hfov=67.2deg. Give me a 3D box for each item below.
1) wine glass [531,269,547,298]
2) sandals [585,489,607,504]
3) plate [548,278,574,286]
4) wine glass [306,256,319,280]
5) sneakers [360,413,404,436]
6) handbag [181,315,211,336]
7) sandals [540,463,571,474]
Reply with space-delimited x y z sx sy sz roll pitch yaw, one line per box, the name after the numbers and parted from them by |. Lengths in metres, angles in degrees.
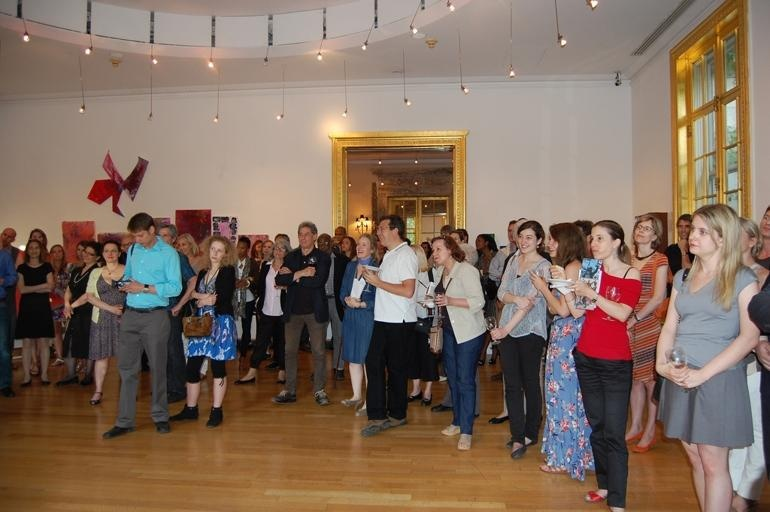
1.556 0.290 5.945 0.158 0.294 0.276 2 10 14 | wine glass
2.005 2.286 5.585 0.187 0.122 0.130 2 10 13 | sandals
1.573 0.240 5.398 0.325 0.046 0.332 3 -4 27 | plate
-0.938 0.136 7.591 0.218 0.343 0.218 0 -12 -4 | wine glass
-0.056 1.985 6.878 0.537 0.226 0.180 -6 -3 -31 | sneakers
-2.203 0.815 6.810 0.260 0.242 0.093 -1 -7 7 | handbag
1.748 2.191 6.012 0.308 0.132 0.097 -5 -1 17 | sandals
